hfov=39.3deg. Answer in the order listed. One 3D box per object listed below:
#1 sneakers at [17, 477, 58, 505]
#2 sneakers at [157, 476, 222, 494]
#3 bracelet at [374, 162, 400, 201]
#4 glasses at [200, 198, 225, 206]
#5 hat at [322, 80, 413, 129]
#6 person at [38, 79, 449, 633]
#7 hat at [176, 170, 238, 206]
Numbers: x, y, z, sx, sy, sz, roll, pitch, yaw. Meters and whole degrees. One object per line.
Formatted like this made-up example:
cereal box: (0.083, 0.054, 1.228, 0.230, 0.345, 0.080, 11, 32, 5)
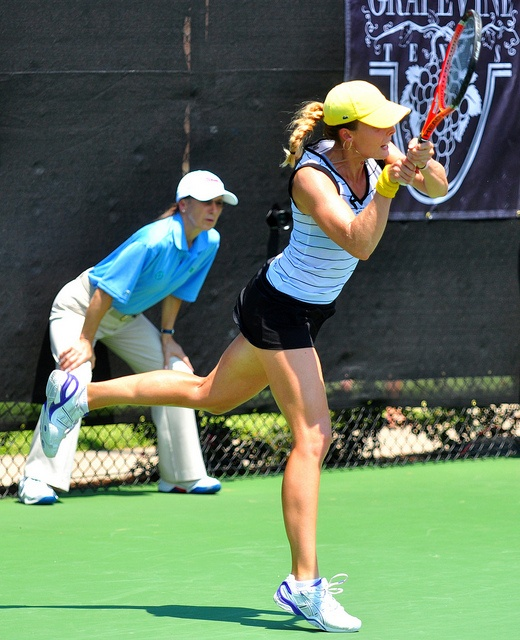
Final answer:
sneakers: (-1.033, 0.802, 3.417, 0.105, 0.077, 0.189, 5, -11, -28)
sneakers: (-0.343, 0.834, 3.766, 0.338, 0.119, 0.105, -2, -3, 7)
bracelet: (0.290, -0.312, 1.687, 0.065, 0.065, 0.076, 1, 2, 0)
glasses: (-0.232, -0.561, 3.472, 0.044, 0.018, 0.073, 2, -8, -43)
hat: (0.268, -0.540, 1.842, 0.209, 0.073, 0.126, 6, 25, 19)
person: (0.008, 0.087, 2.116, 0.347, 1.415, 1.254, 2, -4, -44)
hat: (-0.254, -0.624, 3.443, 0.250, 0.118, 0.188, 0, 3, 38)
